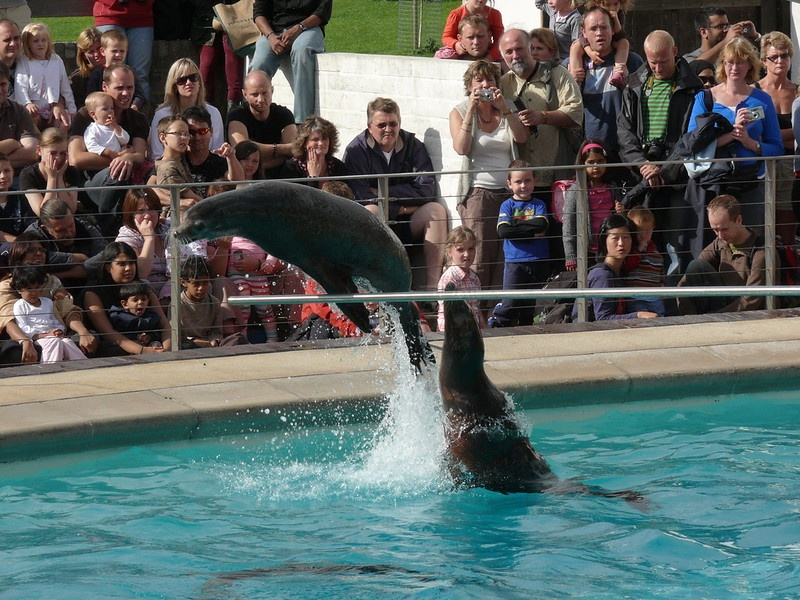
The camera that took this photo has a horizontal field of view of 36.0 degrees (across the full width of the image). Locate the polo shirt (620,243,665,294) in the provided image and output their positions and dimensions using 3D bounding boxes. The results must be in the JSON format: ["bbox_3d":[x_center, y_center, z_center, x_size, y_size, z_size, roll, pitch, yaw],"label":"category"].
[{"bbox_3d":[2.315,-0.278,11.826,0.594,0.496,0.324,4,-11,1],"label":"polo shirt"}]

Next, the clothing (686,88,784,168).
[{"bbox_3d":[3.248,-1.685,12.080,0.976,0.748,0.478,3,-9,-1],"label":"clothing"}]

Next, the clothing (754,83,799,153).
[{"bbox_3d":[4.015,-1.878,12.975,0.676,0.685,0.221,-3,-10,9],"label":"clothing"}]

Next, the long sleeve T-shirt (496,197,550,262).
[{"bbox_3d":[1.146,-0.707,11.961,0.578,0.570,0.382,-5,17,-29],"label":"long sleeve T-shirt"}]

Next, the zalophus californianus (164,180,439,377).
[{"bbox_3d":[-0.489,-0.298,7.490,1.861,0.597,0.570,13,6,-33],"label":"zalophus californianus"}]

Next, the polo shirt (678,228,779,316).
[{"bbox_3d":[3.054,-0.293,11.342,0.695,0.780,0.714,-1,23,-35],"label":"polo shirt"}]

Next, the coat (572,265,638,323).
[{"bbox_3d":[1.816,-0.073,10.975,0.588,0.539,0.315,-4,22,20],"label":"coat"}]

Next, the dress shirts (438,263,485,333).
[{"bbox_3d":[0.539,-0.074,11.289,0.377,0.728,0.275,3,2,-1],"label":"dress shirts"}]
